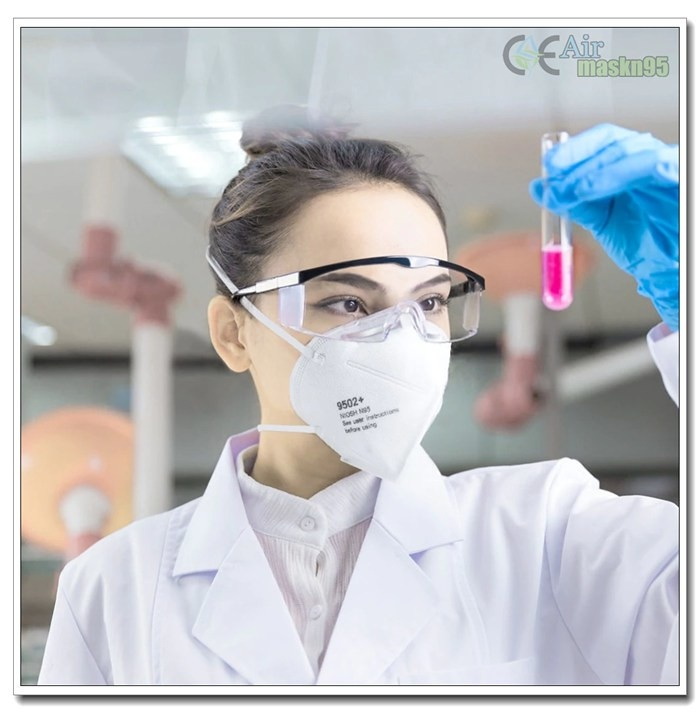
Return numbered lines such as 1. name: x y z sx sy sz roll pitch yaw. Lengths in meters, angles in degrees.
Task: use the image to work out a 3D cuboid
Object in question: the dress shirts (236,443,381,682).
1. dress shirts: -0.088 0.442 3.388 0.304 0.248 0.422 -7 18 -4
